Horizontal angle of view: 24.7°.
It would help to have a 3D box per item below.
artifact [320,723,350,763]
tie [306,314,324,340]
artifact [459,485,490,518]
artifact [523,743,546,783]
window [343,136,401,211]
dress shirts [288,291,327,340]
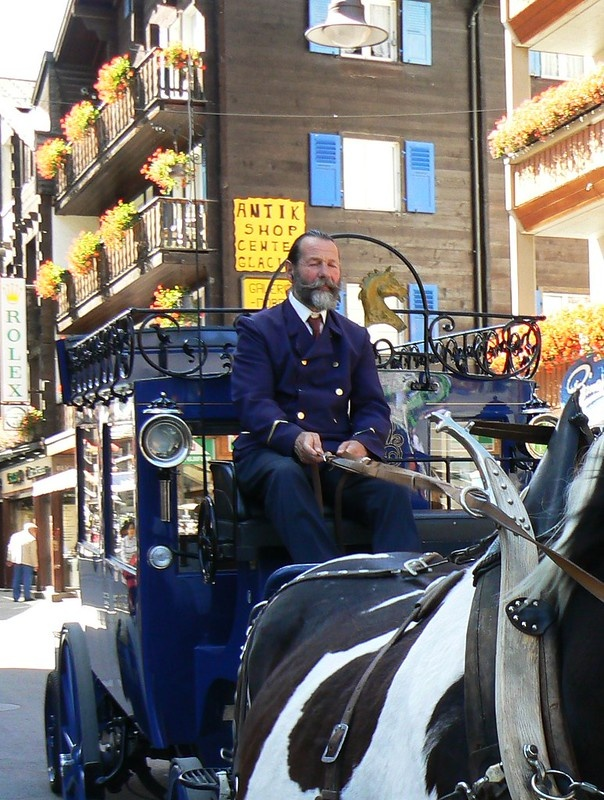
[{"bbox_3d":[0.071,0.734,2.946,0.024,0.093,0.053,31,-17,-31],"label":"artifact"},{"bbox_3d":[0.053,-0.272,5.105,0.051,0.090,0.024,3,-9,-12],"label":"tie"},{"bbox_3d":[0.337,0.194,2.665,0.052,0.055,0.021,-1,-6,-15],"label":"artifact"},{"bbox_3d":[0.412,0.645,2.451,0.022,0.063,0.023,-16,-19,1],"label":"artifact"},{"bbox_3d":[0.966,-3.212,19.485,1.100,1.096,0.082,2,-3,-37],"label":"window"},{"bbox_3d":[0.018,-0.321,5.157,0.119,0.122,0.151,23,2,-33],"label":"dress shirts"}]
